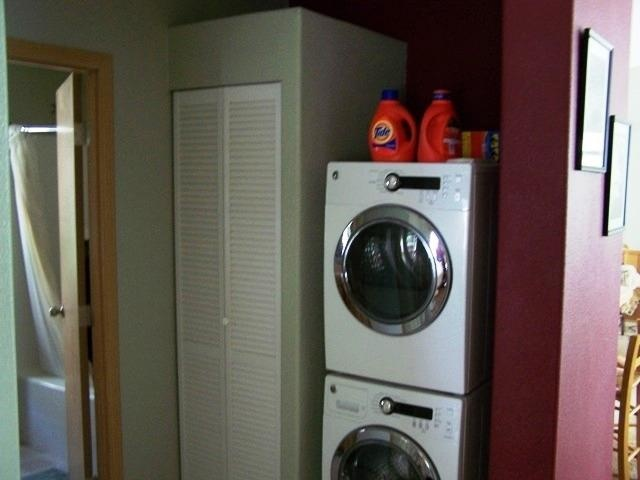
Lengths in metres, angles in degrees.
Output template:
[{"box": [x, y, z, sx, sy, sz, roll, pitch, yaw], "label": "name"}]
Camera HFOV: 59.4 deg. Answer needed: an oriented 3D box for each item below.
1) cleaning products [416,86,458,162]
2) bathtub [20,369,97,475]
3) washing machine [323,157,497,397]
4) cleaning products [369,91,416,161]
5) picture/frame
[{"box": [0.597, -0.546, 2.795, 0.179, 0.372, 0.250, 2, 0, 8], "label": "cleaning products"}, {"box": [-1.622, 1.157, 3.468, 0.756, 0.542, 0.397, 7, 7, 37], "label": "bathtub"}, {"box": [0.393, 0.156, 2.980, 0.888, 1.417, 0.909, 1, 2, 32], "label": "washing machine"}, {"box": [0.367, -0.557, 2.772, 0.227, 0.369, 0.193, 5, 13, 23], "label": "cleaning products"}, {"box": [1.306, -0.450, 2.563, 0.051, 0.874, 0.934, 6, 7, 38], "label": "picture/frame"}]
